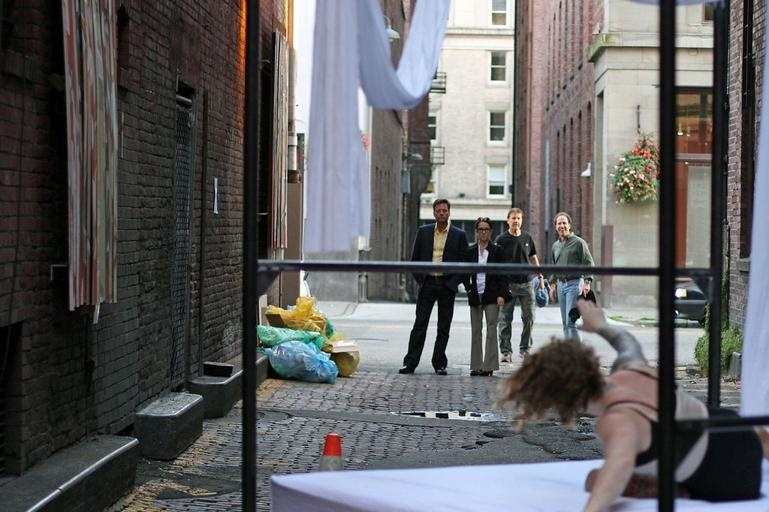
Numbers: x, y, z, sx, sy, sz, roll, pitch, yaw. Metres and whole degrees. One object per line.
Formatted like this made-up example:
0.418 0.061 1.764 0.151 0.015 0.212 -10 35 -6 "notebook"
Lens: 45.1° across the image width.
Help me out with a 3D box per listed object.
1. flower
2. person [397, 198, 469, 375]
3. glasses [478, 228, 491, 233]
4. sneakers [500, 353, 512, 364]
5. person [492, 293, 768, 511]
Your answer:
6.157 -2.145 22.904 1.057 1.708 0.602 1 3 8 "flower"
0.654 0.424 12.348 0.873 2.362 1.394 1 3 2 "person"
1.293 -0.341 12.198 0.154 0.052 0.083 2 4 12 "glasses"
1.727 1.449 13.202 0.177 0.176 0.110 -1 2 10 "sneakers"
1.530 0.919 5.551 1.655 1.231 0.797 -1 4 -23 "person"
